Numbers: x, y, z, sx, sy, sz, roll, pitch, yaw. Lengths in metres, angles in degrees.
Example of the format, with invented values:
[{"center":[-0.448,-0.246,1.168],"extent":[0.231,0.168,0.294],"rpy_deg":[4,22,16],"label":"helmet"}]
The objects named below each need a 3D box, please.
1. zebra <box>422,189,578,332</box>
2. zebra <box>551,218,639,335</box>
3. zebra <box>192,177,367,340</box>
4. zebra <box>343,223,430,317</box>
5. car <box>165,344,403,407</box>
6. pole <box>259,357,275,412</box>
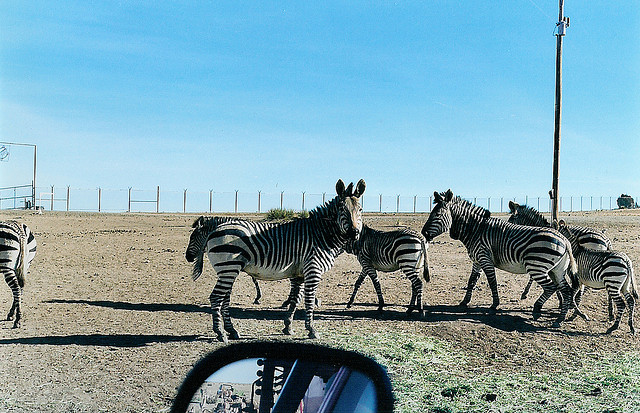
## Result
[{"center":[4.349,1.142,19.066],"extent":[3.418,2.611,0.873],"rpy_deg":[10,15,40],"label":"zebra"},{"center":[5.796,1.696,18.206],"extent":[1.377,2.186,3.065],"rpy_deg":[1,-1,-9],"label":"zebra"},{"center":[-0.842,1.187,17.431],"extent":[3.821,3.398,1.135],"rpy_deg":[-2,-1,-9],"label":"zebra"},{"center":[1.445,1.489,19.627],"extent":[2.678,2.232,0.790],"rpy_deg":[-3,2,37],"label":"zebra"},{"center":[-0.557,2.841,13.171],"extent":[3.353,1.014,1.082],"rpy_deg":[1,12,1],"label":"car"},{"center":[-0.840,2.862,12.897],"extent":[0.198,0.685,0.505],"rpy_deg":[1,11,4],"label":"pole"}]
